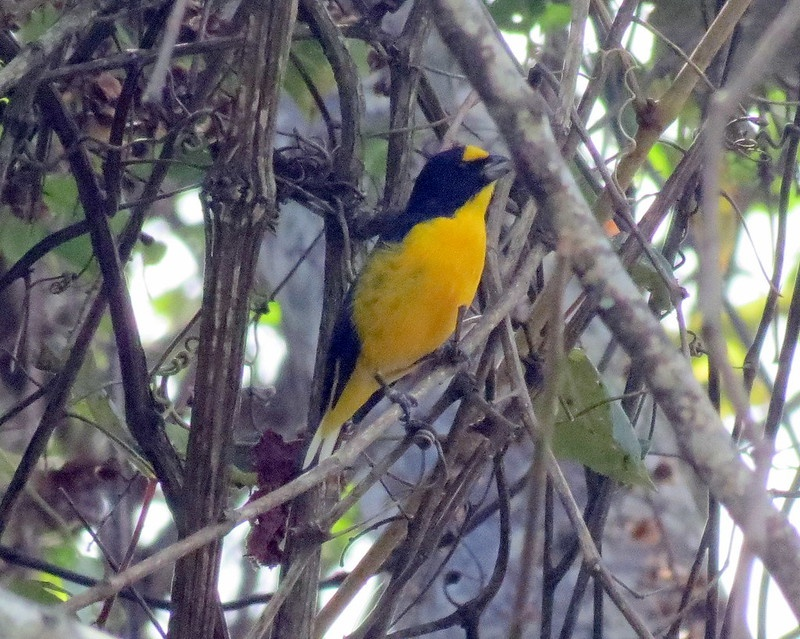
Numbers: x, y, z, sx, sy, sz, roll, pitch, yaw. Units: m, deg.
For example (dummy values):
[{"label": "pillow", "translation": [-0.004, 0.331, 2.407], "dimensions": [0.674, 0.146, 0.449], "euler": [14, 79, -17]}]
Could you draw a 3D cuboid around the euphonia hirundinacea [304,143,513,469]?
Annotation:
[{"label": "euphonia hirundinacea", "translation": [0.008, -0.074, 3.925], "dimensions": [0.375, 1.006, 0.644], "euler": [28, -43, -27]}]
